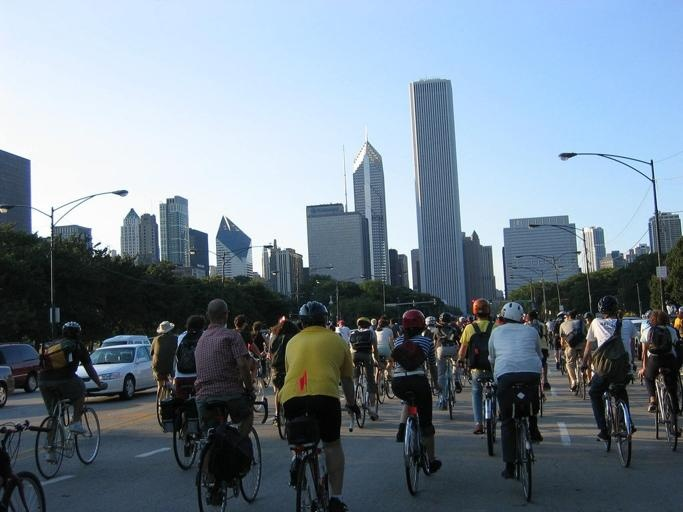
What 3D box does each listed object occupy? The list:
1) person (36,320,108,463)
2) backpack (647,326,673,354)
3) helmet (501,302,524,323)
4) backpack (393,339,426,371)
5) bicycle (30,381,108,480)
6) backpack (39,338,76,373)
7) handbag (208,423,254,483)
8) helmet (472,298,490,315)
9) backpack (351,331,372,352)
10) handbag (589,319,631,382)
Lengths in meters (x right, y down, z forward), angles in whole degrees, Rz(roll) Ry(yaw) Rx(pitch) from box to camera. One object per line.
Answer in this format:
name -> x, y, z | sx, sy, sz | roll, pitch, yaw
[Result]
person -> -4.347, 2.021, 10.699 | 0.811, 2.324, 0.956 | 1, -1, 0
backpack -> 5.364, 1.418, 11.258 | 0.371, 0.567, 0.288 | -1, -12, 5
helmet -> 2.446, 0.803, 9.557 | 0.276, 0.286, 0.448 | -2, -4, 12
backpack -> 0.917, 1.361, 9.221 | 0.285, 0.442, 0.153 | -16, -25, 1
bicycle -> -4.720, 2.882, 10.855 | 0.912, 1.314, 1.965 | -6, -8, 13
backpack -> -4.518, 1.576, 10.609 | 0.586, 0.529, 0.281 | -3, -5, 22
handbag -> -1.312, 2.338, 7.948 | 0.565, 0.693, 0.280 | 1, -5, -27
helmet -> 2.468, 0.919, 11.855 | 0.248, 0.357, 0.348 | 2, 7, 12
backpack -> 0.473, 1.857, 14.815 | 0.455, 0.428, 0.610 | -1, 12, 7
handbag -> 4.163, 1.462, 10.307 | 0.389, 0.873, 0.471 | 1, -5, 10
